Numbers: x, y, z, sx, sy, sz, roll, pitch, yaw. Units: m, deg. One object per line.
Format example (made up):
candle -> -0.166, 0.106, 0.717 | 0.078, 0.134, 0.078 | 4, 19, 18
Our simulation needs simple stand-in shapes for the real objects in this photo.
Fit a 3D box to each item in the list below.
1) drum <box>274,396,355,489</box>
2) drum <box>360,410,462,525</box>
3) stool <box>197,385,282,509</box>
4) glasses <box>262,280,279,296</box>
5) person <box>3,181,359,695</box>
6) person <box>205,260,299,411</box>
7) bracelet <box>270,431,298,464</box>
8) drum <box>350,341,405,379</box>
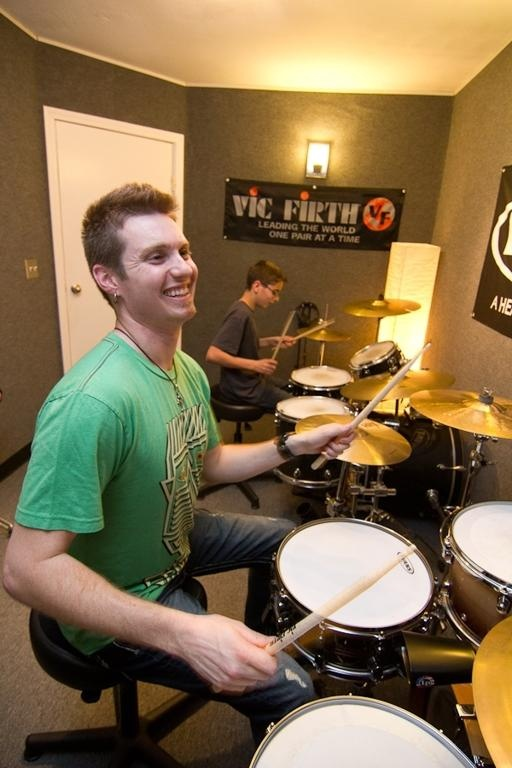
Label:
drum -> 0.226, 0.237, 2.631 | 0.383, 0.366, 0.383 | 2, 26, 6
drum -> 0.695, 0.363, 2.657 | 0.364, 0.454, 0.446 | 4, 15, 1
stool -> -0.098, 0.335, 3.231 | 0.430, 0.498, 0.431 | 1, 8, 2
glasses -> 0.073, -0.520, 3.275 | 0.070, 0.050, 0.090 | -18, 40, -37
person -> -0.155, 0.081, 1.277 | 0.587, 0.945, 0.720 | 10, 19, 9
person -> 0.024, -0.166, 3.293 | 0.565, 0.966, 0.562 | 6, 12, 19
bracelet -> 0.080, 0.173, 1.607 | 0.061, 0.060, 0.068 | 20, 16, 7
drum -> 0.516, -0.094, 2.568 | 0.192, 0.076, 0.198 | -23, 18, 8
